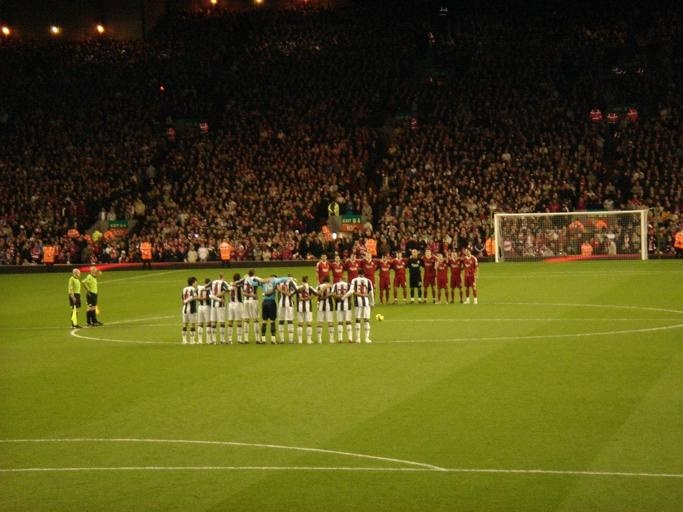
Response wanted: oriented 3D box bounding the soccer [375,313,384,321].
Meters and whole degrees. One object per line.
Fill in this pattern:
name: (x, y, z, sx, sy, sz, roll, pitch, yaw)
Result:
soccer: (1.417, 2.243, 31.309, 0.299, 0.177, 0.303, -1, 7, -21)
